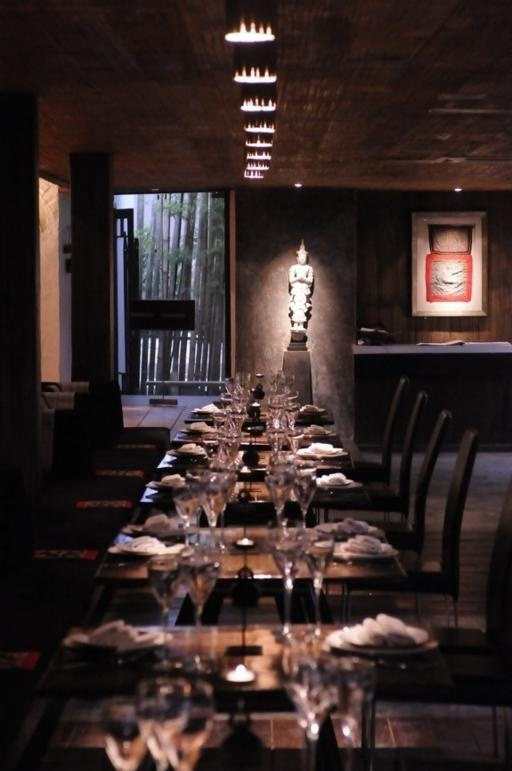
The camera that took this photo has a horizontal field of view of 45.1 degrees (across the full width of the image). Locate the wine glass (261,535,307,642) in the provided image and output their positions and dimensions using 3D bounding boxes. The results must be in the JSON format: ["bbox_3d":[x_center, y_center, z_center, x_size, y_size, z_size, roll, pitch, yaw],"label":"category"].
[{"bbox_3d":[0.061,0.410,1.279,0.071,0.187,0.311,2,-2,5],"label":"wine glass"}]

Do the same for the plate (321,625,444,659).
[{"bbox_3d":[0.249,0.511,1.206,0.221,0.035,0.153,4,-3,11],"label":"plate"}]

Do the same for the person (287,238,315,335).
[{"bbox_3d":[0.619,-1.296,8.385,0.331,1.038,0.347,2,-1,-3],"label":"person"}]

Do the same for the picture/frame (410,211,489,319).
[{"bbox_3d":[2.775,-1.784,8.840,1.035,1.926,0.079,0,6,-1],"label":"picture/frame"}]
